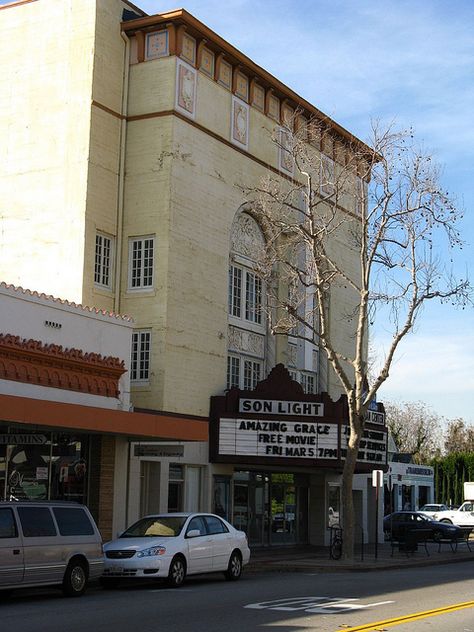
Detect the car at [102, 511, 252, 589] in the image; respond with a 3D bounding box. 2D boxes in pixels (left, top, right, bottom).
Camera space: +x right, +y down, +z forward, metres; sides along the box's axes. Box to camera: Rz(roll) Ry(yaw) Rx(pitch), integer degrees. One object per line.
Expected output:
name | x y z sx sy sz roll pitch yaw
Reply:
car | -1.186 4.430 15.466 1.276 0.951 2.559 -10 -22 26
